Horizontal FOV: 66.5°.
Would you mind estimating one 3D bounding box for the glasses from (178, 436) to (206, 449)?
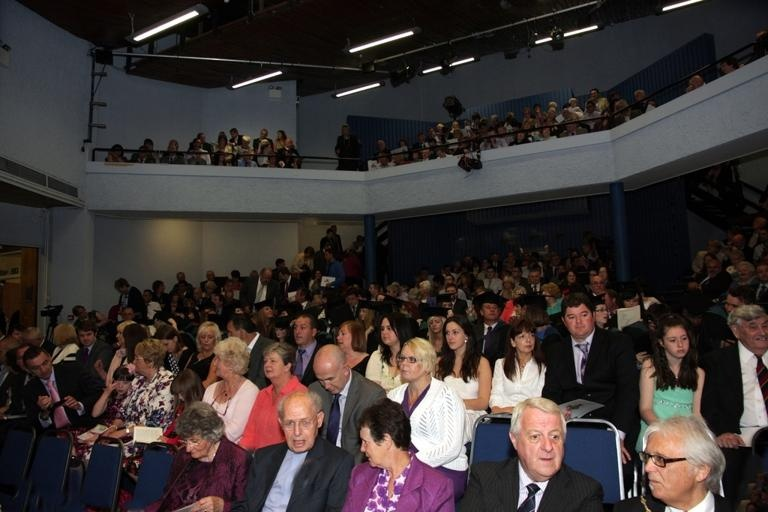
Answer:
[{"bbox_3d":[-1.832,1.796,5.660,0.144,0.094,0.188,-12,-19,27],"label":"glasses"}]

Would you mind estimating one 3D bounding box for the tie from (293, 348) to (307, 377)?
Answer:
[{"bbox_3d":[-1.151,1.436,7.858,0.201,0.369,0.085,-6,-14,39],"label":"tie"}]

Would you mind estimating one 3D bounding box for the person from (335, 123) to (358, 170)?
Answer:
[{"bbox_3d":[-0.986,-2.892,15.873,0.623,1.354,0.935,-1,-6,-5],"label":"person"}]

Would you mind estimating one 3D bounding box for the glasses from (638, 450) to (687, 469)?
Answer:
[{"bbox_3d":[2.270,1.649,4.732,0.328,0.110,0.072,-5,-7,26],"label":"glasses"}]

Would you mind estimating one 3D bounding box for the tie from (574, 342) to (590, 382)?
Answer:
[{"bbox_3d":[2.214,1.182,6.504,0.106,0.357,0.246,3,-6,0],"label":"tie"}]
